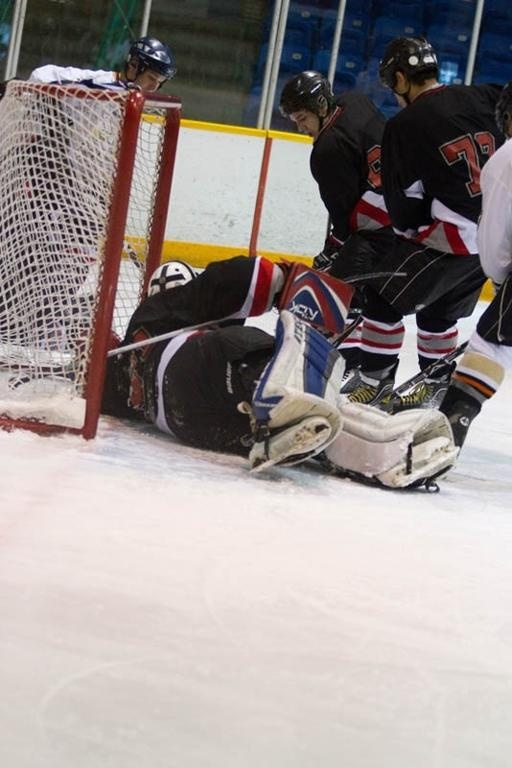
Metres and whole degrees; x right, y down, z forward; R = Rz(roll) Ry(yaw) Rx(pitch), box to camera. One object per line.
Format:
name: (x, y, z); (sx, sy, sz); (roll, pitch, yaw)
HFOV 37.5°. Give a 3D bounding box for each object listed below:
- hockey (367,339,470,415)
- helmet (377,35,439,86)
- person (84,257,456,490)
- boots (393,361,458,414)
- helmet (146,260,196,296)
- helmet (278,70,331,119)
hockey: (0.577, 0.033, 2.640); (0.296, 0.155, 0.089); (-6, 14, -7)
helmet: (0.595, -1.203, 2.804); (0.179, 0.196, 0.206); (-12, 21, -32)
person: (0.028, -0.057, 1.815); (0.856, 0.480, 0.475); (16, 8, 44)
boots: (0.573, 0.034, 2.639); (0.269, 0.173, 0.082); (-21, 54, -16)
helmet: (-0.222, -0.281, 1.973); (0.119, 0.105, 0.088); (-12, 36, -23)
helmet: (0.206, -1.137, 2.935); (0.196, 0.187, 0.165); (11, 7, 6)
